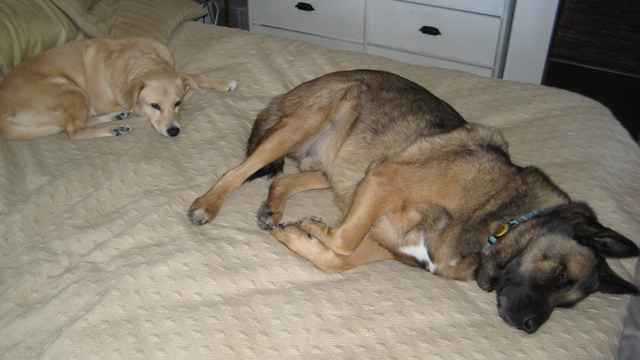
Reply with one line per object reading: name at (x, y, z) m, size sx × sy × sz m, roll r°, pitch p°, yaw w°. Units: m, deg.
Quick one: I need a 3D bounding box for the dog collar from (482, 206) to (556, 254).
dog collar at (1.299, 0.333, 3.182) m, size 0.527 × 0.063 × 0.072 m, roll -28°, pitch 15°, yaw 2°

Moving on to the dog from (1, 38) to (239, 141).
dog at (-1.558, -0.680, 4.053) m, size 1.742 × 0.463 × 0.774 m, roll 2°, pitch 48°, yaw -16°
